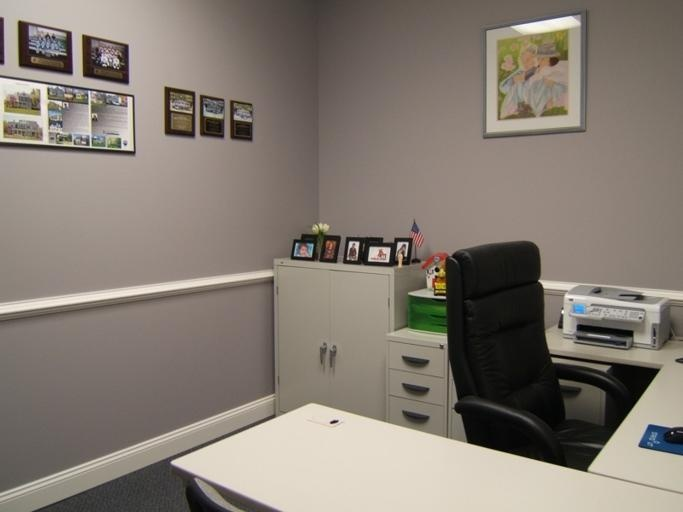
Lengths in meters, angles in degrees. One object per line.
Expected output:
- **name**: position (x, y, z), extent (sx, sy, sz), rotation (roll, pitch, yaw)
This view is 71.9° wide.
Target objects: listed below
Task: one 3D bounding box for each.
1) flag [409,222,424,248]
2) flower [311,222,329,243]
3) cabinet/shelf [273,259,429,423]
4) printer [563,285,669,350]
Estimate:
- **flag**: position (0.587, -0.169, 3.665), extent (0.105, 0.191, 0.174), rotation (1, 8, 8)
- **flower**: position (-0.171, -0.189, 3.796), extent (0.138, 0.174, 0.152), rotation (4, 3, 21)
- **cabinet/shelf**: position (0.113, 0.573, 3.305), extent (1.053, 1.512, 0.528), rotation (1, 1, 33)
- **printer**: position (1.641, 0.239, 2.819), extent (0.459, 0.328, 0.342), rotation (2, 5, 34)
